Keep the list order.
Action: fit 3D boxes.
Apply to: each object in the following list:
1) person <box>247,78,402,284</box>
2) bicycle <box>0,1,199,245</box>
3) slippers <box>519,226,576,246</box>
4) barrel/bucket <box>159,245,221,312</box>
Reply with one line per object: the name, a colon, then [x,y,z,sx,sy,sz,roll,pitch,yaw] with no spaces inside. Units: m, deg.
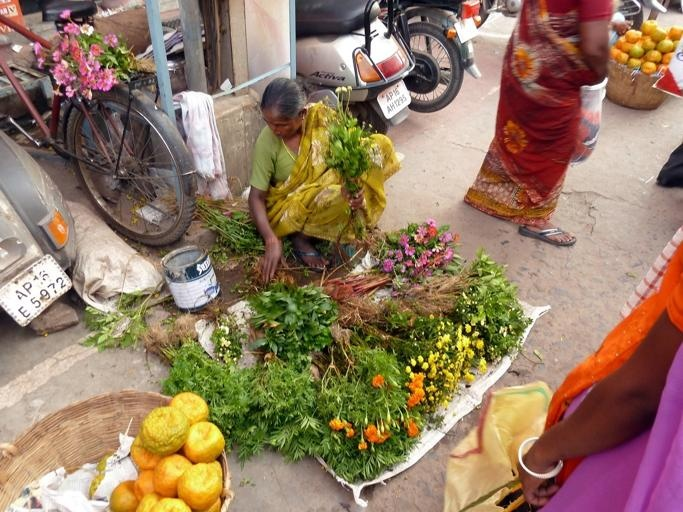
person: [-0.155,-0.474,3.270,0.806,0.994,1.320,38,70,17]
bicycle: [-1.622,-0.823,3.231,1.393,1.374,0.686,30,51,22]
slippers: [1.723,-0.173,3.829,0.324,0.092,0.191,15,49,17]
barrel/bucket: [-0.984,0.149,3.009,0.288,0.436,0.370,-24,53,-24]
